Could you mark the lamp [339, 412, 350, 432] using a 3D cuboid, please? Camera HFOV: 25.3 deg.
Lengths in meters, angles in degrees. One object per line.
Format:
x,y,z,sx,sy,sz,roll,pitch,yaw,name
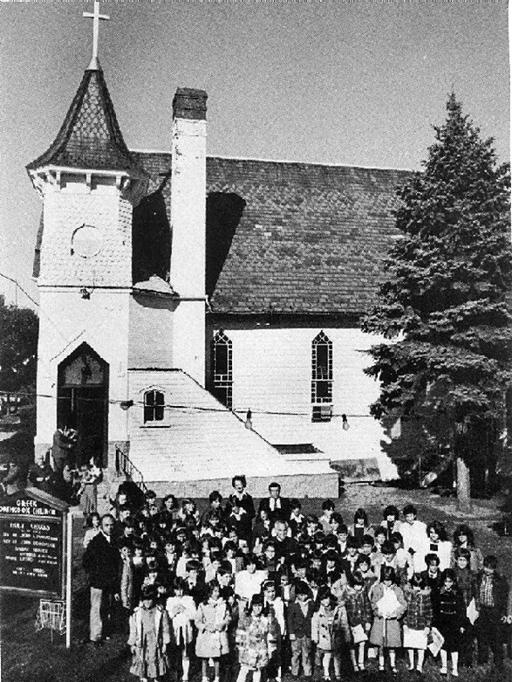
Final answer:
1.777,1.581,22.564,0.149,0.317,0.068,-3,-7,-22,lamp
